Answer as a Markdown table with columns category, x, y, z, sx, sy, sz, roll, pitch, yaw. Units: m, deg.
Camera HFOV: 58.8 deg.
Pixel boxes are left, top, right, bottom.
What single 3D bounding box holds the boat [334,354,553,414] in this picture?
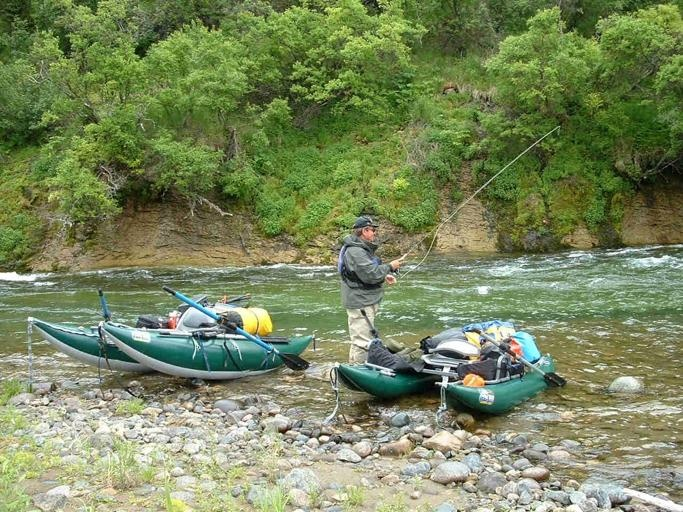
| category | x | y | z | sx | sy | sz | roll | pitch | yaw |
| --- | --- | --- | --- | --- | --- | --- | --- | --- | --- |
| boat | 1.409 | 1.865 | 9.827 | 3.256 | 0.336 | 1.773 | 3 | 12 | -1 |

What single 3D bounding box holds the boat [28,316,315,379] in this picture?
| category | x | y | z | sx | sy | sz | roll | pitch | yaw |
| --- | --- | --- | --- | --- | --- | --- | --- | --- | --- |
| boat | -2.909 | 1.736 | 10.228 | 4.007 | 1.224 | 1.368 | 0 | 3 | -13 |
